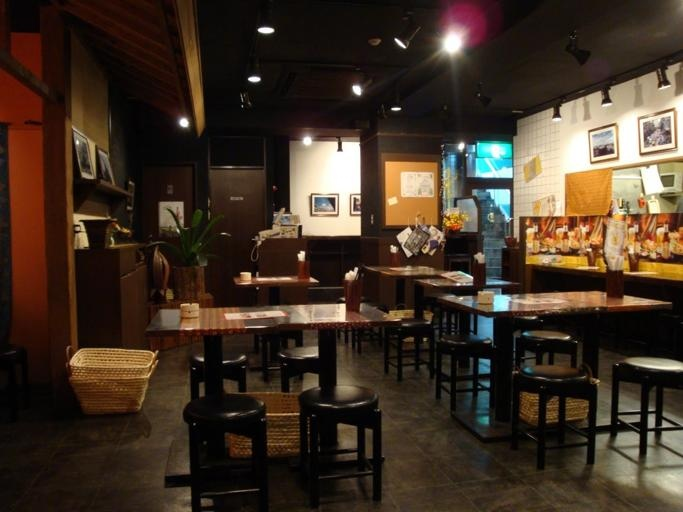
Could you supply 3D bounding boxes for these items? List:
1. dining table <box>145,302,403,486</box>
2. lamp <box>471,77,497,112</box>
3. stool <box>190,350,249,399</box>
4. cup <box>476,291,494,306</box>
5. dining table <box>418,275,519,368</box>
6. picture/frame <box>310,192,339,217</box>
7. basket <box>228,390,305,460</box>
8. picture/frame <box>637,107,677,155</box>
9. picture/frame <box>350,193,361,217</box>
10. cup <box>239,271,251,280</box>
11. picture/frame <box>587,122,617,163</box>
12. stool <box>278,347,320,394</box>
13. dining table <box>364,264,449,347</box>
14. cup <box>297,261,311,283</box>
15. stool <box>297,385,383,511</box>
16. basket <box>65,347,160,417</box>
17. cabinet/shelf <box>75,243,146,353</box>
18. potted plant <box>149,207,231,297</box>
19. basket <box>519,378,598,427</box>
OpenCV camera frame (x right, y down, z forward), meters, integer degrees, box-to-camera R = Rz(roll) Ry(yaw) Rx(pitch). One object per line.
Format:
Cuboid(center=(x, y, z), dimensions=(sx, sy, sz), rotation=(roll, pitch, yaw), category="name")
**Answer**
Cuboid(center=(-0.533, 1.098, 4.305), dimensions=(1.799, 1.173, 1.005), rotation=(-2, -2, -13), category="dining table")
Cuboid(center=(2.164, -2.477, 8.447), dimensions=(0.252, 0.320, 0.489), rotation=(19, -16, 38), category="lamp")
Cuboid(center=(-1.042, 0.996, 4.674), dimensions=(0.428, 0.425, 0.447), rotation=(1, -1, 2), category="stool")
Cuboid(center=(1.211, 0.355, 4.640), dimensions=(0.114, 0.091, 0.116), rotation=(1, -4, 0), category="cup")
Cuboid(center=(1.372, 0.611, 6.248), dimensions=(0.989, 0.807, 1.066), rotation=(0, 4, -1), category="dining table")
Cuboid(center=(-0.420, -1.169, 12.477), dimensions=(0.532, 0.458, 0.042), rotation=(1, 0, -13), category="picture/frame")
Cuboid(center=(-0.496, 1.308, 4.294), dimensions=(0.433, 0.245, 0.649), rotation=(1, -5, -5), category="basket")
Cuboid(center=(4.485, -1.773, 7.861), dimensions=(0.050, 0.765, 0.734), rotation=(2, -1, -20), category="picture/frame")
Cuboid(center=(0.290, -1.169, 12.621), dimensions=(0.215, 0.435, 0.066), rotation=(-1, 0, -1), category="picture/frame")
Cuboid(center=(-1.113, 0.246, 6.464), dimensions=(0.129, 0.109, 0.271), rotation=(-2, 1, -13), category="cup")
Cuboid(center=(4.115, -1.786, 8.729), dimensions=(0.061, 0.848, 0.700), rotation=(-1, 0, -21), category="picture/frame")
Cuboid(center=(-0.346, 0.910, 4.582), dimensions=(0.375, 0.289, 0.353), rotation=(-1, -2, -14), category="stool")
Cuboid(center=(0.867, 0.829, 7.264), dimensions=(1.299, 0.919, 0.672), rotation=(-1, 6, -25), category="dining table")
Cuboid(center=(-0.449, 0.174, 6.592), dimensions=(0.119, 0.233, 0.120), rotation=(-1, 1, 0), category="cup")
Cuboid(center=(-0.119, 1.324, 4.124), dimensions=(0.706, 0.890, 0.692), rotation=(1, 0, -10), category="stool")
Cuboid(center=(-2.172, 1.045, 5.299), dimensions=(0.879, 0.618, 0.597), rotation=(3, -10, -12), category="basket")
Cuboid(center=(-2.344, 0.438, 5.574), dimensions=(0.372, 1.115, 1.186), rotation=(-1, 1, -2), category="cabinet/shelf")
Cuboid(center=(-2.238, -0.106, 8.697), dimensions=(1.229, 1.310, 3.131), rotation=(-2, 1, -16), category="potted plant")
Cuboid(center=(1.860, 1.300, 4.803), dimensions=(0.623, 0.263, 0.451), rotation=(2, -3, -9), category="basket")
